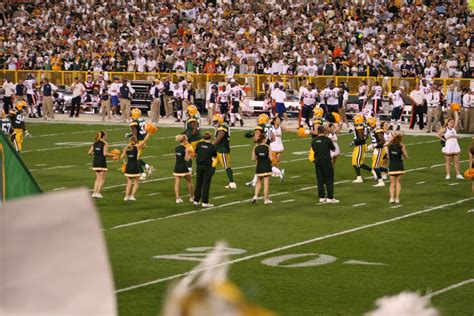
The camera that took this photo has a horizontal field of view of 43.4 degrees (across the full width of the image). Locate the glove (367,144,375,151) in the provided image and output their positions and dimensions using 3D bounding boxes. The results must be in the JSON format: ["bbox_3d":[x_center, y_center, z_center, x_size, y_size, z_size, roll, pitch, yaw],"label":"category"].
[{"bbox_3d":[3.870,-0.302,17.222,0.240,0.092,0.250,-18,2,44],"label":"glove"}]

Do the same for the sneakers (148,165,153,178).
[{"bbox_3d":[-2.289,0.380,16.022,0.157,0.177,0.427,0,-15,-7],"label":"sneakers"}]

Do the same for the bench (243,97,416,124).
[{"bbox_3d":[4.053,-2.369,27.836,7.892,1.135,2.154,4,3,23],"label":"bench"}]

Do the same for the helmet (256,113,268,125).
[{"bbox_3d":[0.602,-0.987,15.338,0.355,0.300,0.276,13,16,22],"label":"helmet"}]

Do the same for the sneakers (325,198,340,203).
[{"bbox_3d":[2.128,0.965,13.293,0.316,0.111,0.106,1,9,-6],"label":"sneakers"}]

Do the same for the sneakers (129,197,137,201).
[{"bbox_3d":[-2.337,0.919,13.427,0.081,0.080,0.190,0,-5,-4],"label":"sneakers"}]

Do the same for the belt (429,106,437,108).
[{"bbox_3d":[7.711,-2.013,23.614,0.279,0.063,0.104,4,3,14],"label":"belt"}]

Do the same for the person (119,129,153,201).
[{"bbox_3d":[-2.447,0.181,14.284,0.598,1.450,2.179,3,3,-9],"label":"person"}]

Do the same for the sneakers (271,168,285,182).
[{"bbox_3d":[1.064,0.418,15.226,0.220,0.230,0.567,-12,4,5],"label":"sneakers"}]

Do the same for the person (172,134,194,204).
[{"bbox_3d":[-1.150,0.243,13.267,0.458,1.520,0.837,3,3,-6],"label":"person"}]

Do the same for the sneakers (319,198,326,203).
[{"bbox_3d":[1.897,0.944,13.281,0.174,0.113,0.150,4,3,14],"label":"sneakers"}]

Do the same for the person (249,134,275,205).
[{"bbox_3d":[0.583,0.224,13.404,0.505,1.523,1.320,4,3,3],"label":"person"}]

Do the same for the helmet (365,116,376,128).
[{"bbox_3d":[3.669,-0.992,16.357,0.255,0.272,0.322,-16,29,-42],"label":"helmet"}]

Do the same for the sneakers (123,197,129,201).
[{"bbox_3d":[-2.463,0.920,13.404,0.075,0.051,0.128,2,1,0],"label":"sneakers"}]

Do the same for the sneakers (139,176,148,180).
[{"bbox_3d":[-2.514,0.553,16.127,0.280,0.113,0.096,0,48,15],"label":"sneakers"}]

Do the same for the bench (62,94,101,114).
[{"bbox_3d":[-8.470,-2.958,32.902,1.933,1.619,1.132,-1,7,9],"label":"bench"}]
